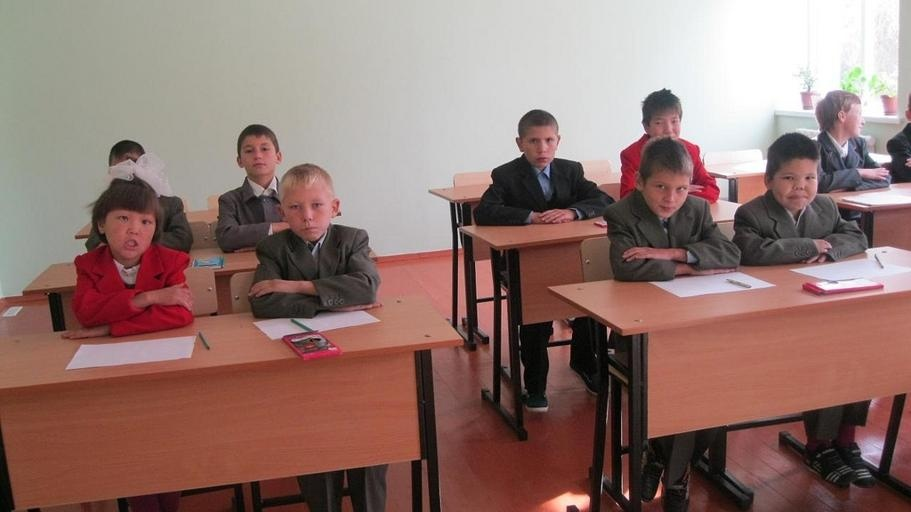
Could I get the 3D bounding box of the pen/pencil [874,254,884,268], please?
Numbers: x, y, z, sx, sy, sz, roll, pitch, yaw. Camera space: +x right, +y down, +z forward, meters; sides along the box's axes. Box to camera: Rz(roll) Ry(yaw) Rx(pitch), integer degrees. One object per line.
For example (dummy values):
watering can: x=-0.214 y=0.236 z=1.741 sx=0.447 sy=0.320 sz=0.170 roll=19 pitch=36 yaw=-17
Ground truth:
pen/pencil: x=2.199 y=0.028 z=3.234 sx=0.016 sy=0.016 sz=0.142 roll=-5 pitch=22 yaw=21

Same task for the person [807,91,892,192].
person: x=2.891 y=-0.874 z=4.670 sx=0.728 sy=0.742 sz=0.545 roll=-15 pitch=24 yaw=-28

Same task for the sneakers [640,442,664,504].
sneakers: x=0.938 y=1.099 z=3.106 sx=0.112 sy=0.300 sz=0.133 roll=1 pitch=15 yaw=0

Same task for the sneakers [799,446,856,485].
sneakers: x=1.960 y=1.112 z=3.310 sx=0.103 sy=0.107 sz=0.256 roll=-23 pitch=21 yaw=-17
